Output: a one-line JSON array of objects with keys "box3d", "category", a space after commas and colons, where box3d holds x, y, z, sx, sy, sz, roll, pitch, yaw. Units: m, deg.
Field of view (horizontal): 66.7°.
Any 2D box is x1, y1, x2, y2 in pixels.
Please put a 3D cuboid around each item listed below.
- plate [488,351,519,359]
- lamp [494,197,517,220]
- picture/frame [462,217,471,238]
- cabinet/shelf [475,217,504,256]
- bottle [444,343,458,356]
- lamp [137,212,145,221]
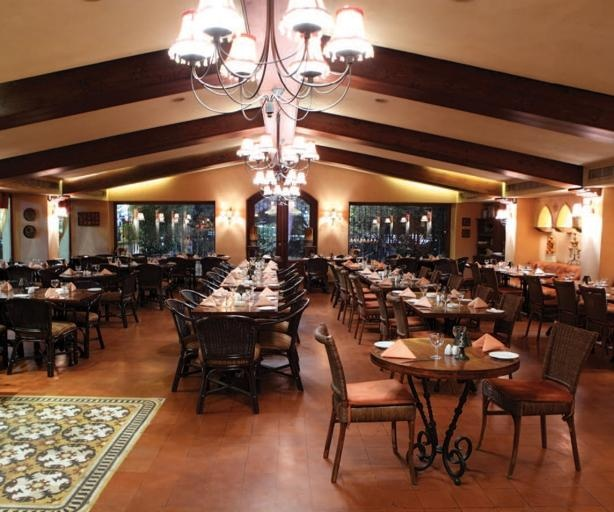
[{"box3d": [1.438, 0.724, 3.410, 0.192, 0.029, 0.250, 2, 4, 21], "category": "plate"}, {"box3d": [5.370, -1.232, 12.457, 0.613, 0.532, 1.064, 1, 2, 17], "category": "lamp"}, {"box3d": [5.207, -0.910, 15.245, 0.326, 0.664, 0.084, -1, 5, -16], "category": "picture/frame"}, {"box3d": [5.822, -0.712, 14.895, 0.363, 1.008, 1.109, 1, -1, -20], "category": "cabinet/shelf"}, {"box3d": [1.046, 0.683, 3.372, 0.081, 0.050, 0.077, -3, 0, 0], "category": "bottle"}, {"box3d": [-5.360, -1.232, 14.984, 0.255, 0.199, 0.233, -3, 6, -8], "category": "lamp"}]
